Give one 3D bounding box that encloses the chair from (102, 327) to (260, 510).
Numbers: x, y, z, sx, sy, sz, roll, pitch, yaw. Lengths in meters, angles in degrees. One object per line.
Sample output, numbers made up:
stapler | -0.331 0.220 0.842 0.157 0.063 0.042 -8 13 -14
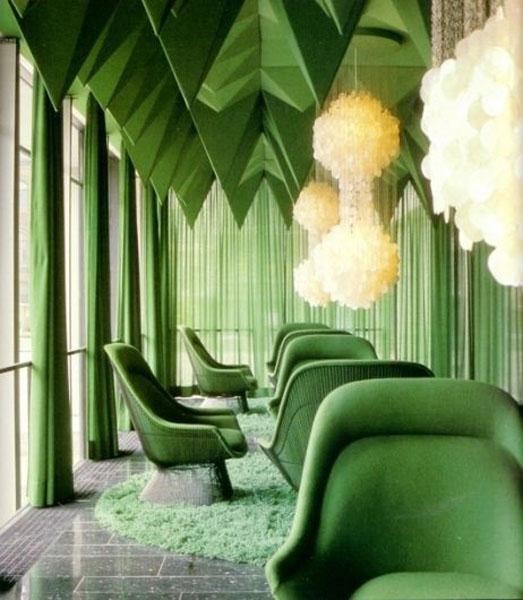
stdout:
chair | -0.553 0.743 4.206 0.790 1.167 0.836 1 -6 -5
